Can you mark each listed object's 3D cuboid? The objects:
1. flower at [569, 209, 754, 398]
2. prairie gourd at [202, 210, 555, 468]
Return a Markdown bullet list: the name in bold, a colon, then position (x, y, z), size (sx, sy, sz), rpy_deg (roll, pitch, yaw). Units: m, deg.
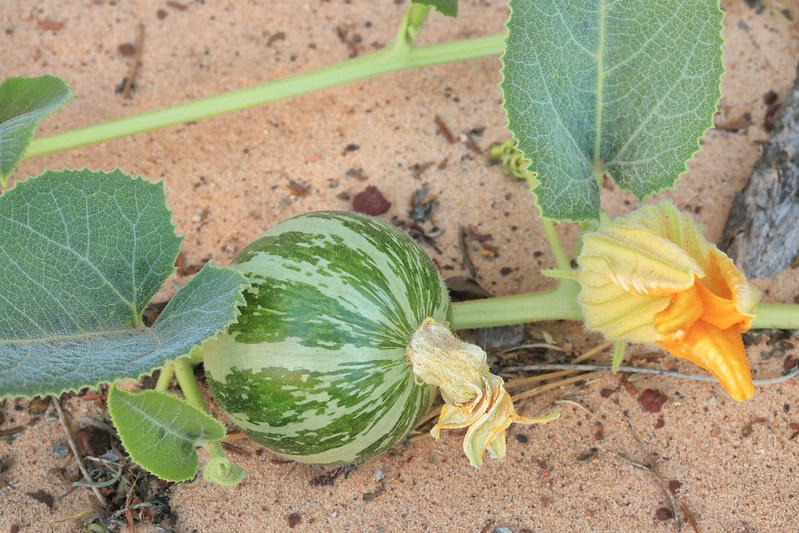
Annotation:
- **flower**: position (1.059, 0.159, 3.592), size (0.779, 0.332, 0.527), rpy_deg (41, 80, 24)
- **prairie gourd**: position (-0.179, 0.278, 3.624), size (1.160, 0.488, 0.898), rpy_deg (0, 68, 7)
